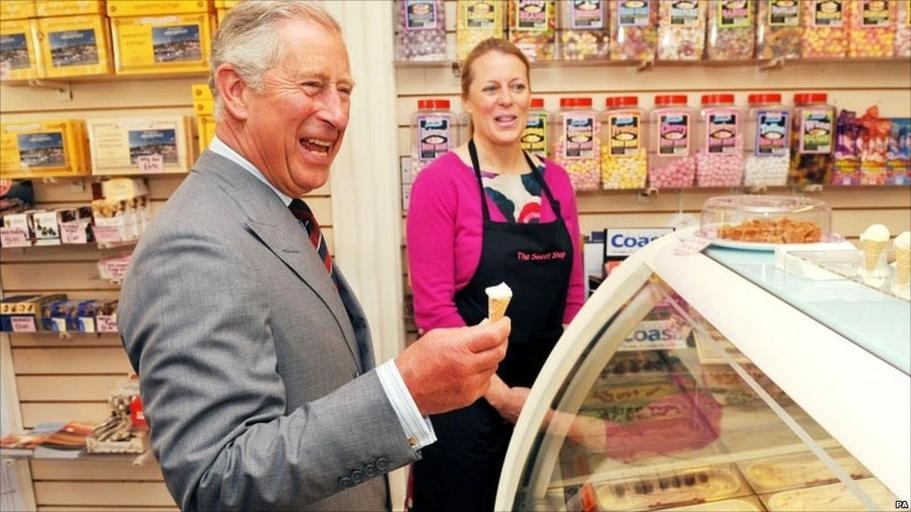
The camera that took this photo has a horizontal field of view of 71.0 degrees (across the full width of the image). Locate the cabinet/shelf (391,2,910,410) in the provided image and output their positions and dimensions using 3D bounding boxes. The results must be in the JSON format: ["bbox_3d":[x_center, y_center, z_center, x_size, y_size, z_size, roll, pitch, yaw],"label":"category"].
[{"bbox_3d":[0.892,-0.325,3.021,2.318,1.869,0.723,-1,14,-1],"label":"cabinet/shelf"}]

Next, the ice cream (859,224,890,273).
[{"bbox_3d":[1.378,-0.021,2.124,0.091,0.173,0.090,8,10,42],"label":"ice cream"}]
